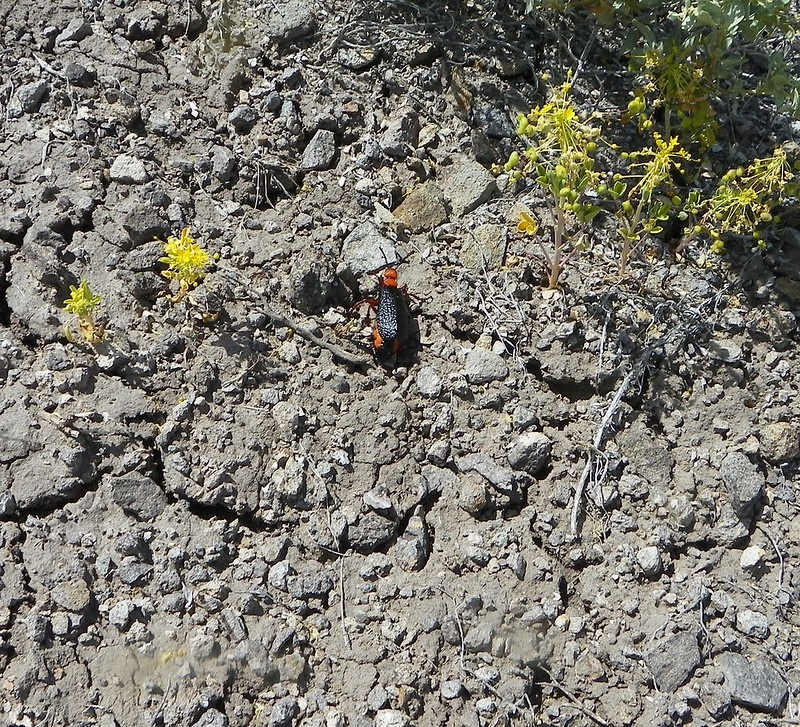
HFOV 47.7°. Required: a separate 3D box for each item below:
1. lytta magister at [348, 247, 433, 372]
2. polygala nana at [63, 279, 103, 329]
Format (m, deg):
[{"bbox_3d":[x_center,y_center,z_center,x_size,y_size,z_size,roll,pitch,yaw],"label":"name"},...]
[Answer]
[{"bbox_3d":[-0.060,-0.288,4.667,0.357,0.235,0.462,34,72,11],"label":"lytta magister"},{"bbox_3d":[-1.562,-0.287,4.445,0.135,0.175,0.141,16,49,-1],"label":"polygala nana"}]
